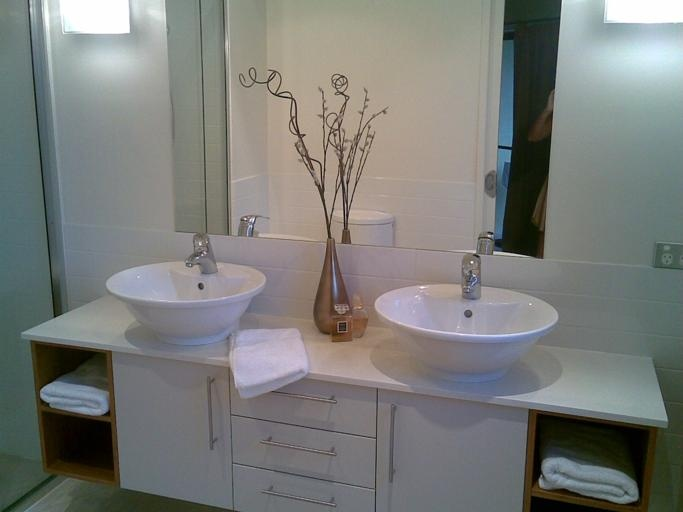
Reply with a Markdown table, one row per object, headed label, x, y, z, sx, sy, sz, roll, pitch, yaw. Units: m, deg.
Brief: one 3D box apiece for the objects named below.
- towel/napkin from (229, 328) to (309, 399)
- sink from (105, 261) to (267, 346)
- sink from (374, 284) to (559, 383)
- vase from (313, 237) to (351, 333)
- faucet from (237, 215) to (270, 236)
| label | x | y | z | sx | sy | sz | roll | pitch | yaw |
| --- | --- | --- | --- | --- | --- | --- | --- | --- | --- |
| towel/napkin | -0.276 | 0.403 | 2.056 | 0.241 | 0.084 | 0.251 | -9 | 32 | -16 |
| sink | -0.644 | 0.192 | 2.280 | 0.649 | 0.212 | 0.506 | 1 | 15 | 0 |
| sink | 0.458 | 0.301 | 2.042 | 0.634 | 0.254 | 0.517 | 7 | 16 | 23 |
| vase | -0.030 | 0.141 | 2.274 | 0.132 | 0.403 | 0.186 | -8 | 16 | -29 |
| faucet | -0.404 | -0.160 | 2.547 | 0.138 | 0.151 | 0.082 | 7 | 16 | 5 |
